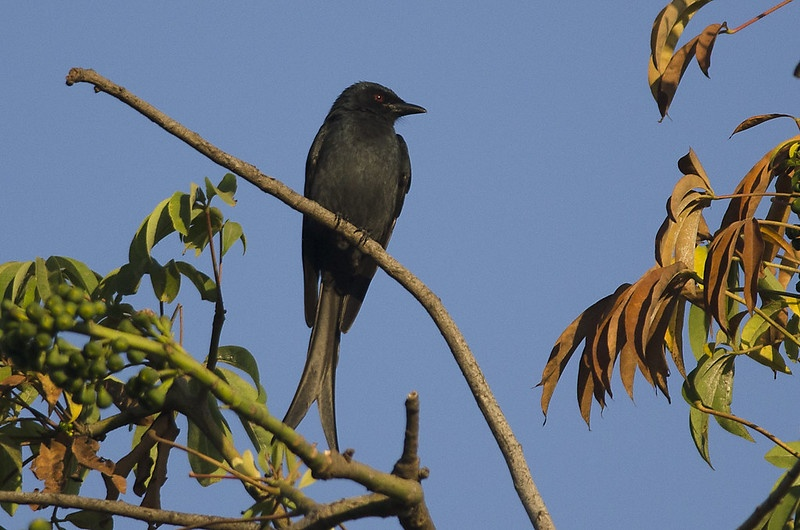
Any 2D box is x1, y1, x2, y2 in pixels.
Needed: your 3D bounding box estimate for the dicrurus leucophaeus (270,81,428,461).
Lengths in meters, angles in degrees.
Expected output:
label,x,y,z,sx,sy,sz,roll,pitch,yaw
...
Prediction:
label,x,y,z,sx,sy,sz,roll,pitch,yaw
dicrurus leucophaeus,-0.248,0.067,9.290,0.665,3.354,0.918,0,-50,-1
